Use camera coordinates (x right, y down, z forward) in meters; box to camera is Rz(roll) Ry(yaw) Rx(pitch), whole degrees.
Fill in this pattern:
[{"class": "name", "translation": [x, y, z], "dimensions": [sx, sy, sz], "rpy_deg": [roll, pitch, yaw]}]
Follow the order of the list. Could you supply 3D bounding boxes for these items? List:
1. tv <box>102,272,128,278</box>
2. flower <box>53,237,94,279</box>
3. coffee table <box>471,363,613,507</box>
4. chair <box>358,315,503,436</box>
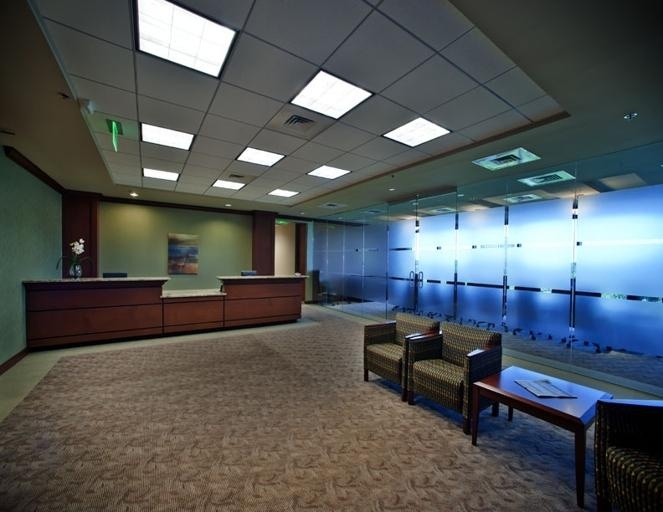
[{"class": "tv", "translation": [-4.199, 0.381, 7.884], "dimensions": [0.453, 0.101, 0.421], "rpy_deg": [0, 1, 38]}, {"class": "flower", "translation": [-4.999, 0.103, 7.884], "dimensions": [0.781, 0.690, 0.462], "rpy_deg": [-6, -1, 3]}, {"class": "coffee table", "translation": [2.267, 1.731, 4.238], "dimensions": [1.257, 0.692, 1.129], "rpy_deg": [4, -3, -36]}, {"class": "chair", "translation": [1.277, 1.412, 5.236], "dimensions": [0.705, 1.086, 1.680], "rpy_deg": [-2, 4, -41]}]
